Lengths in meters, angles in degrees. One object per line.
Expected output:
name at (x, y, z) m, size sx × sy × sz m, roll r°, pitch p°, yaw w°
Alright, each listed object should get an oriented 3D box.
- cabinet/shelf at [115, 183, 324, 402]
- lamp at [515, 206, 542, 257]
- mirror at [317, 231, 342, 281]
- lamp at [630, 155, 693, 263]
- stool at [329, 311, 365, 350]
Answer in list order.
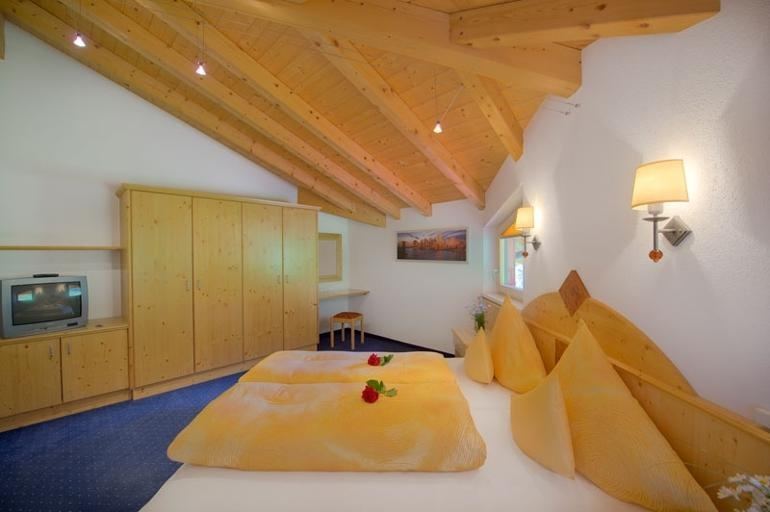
cabinet/shelf at (-2.144, 0.468, 5.599) m, size 2.674 × 2.572 × 0.837 m, roll 0°, pitch 0°, yaw -45°
lamp at (1.563, -0.285, 4.998) m, size 0.223 × 0.604 × 0.381 m, roll -1°, pitch 1°, yaw 5°
mirror at (-0.960, 0.005, 7.797) m, size 0.113 × 0.988 × 0.835 m, roll 1°, pitch 1°, yaw 38°
lamp at (2.149, -0.339, 3.526) m, size 0.374 × 0.787 × 0.252 m, roll -1°, pitch 1°, yaw 35°
stool at (-0.623, 1.205, 7.389) m, size 0.541 × 0.591 × 0.554 m, roll -1°, pitch -4°, yaw 12°
